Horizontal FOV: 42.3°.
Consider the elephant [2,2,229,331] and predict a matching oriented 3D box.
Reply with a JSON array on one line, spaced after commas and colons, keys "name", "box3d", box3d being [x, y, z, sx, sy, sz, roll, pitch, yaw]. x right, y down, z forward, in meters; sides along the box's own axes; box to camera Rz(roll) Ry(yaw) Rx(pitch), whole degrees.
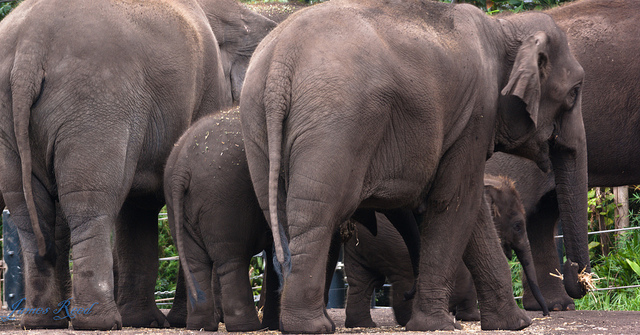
[{"name": "elephant", "box3d": [-2.034, -0.135, 7.893, 1.846, 3.383, 1.071, 6, -16, -45]}]
